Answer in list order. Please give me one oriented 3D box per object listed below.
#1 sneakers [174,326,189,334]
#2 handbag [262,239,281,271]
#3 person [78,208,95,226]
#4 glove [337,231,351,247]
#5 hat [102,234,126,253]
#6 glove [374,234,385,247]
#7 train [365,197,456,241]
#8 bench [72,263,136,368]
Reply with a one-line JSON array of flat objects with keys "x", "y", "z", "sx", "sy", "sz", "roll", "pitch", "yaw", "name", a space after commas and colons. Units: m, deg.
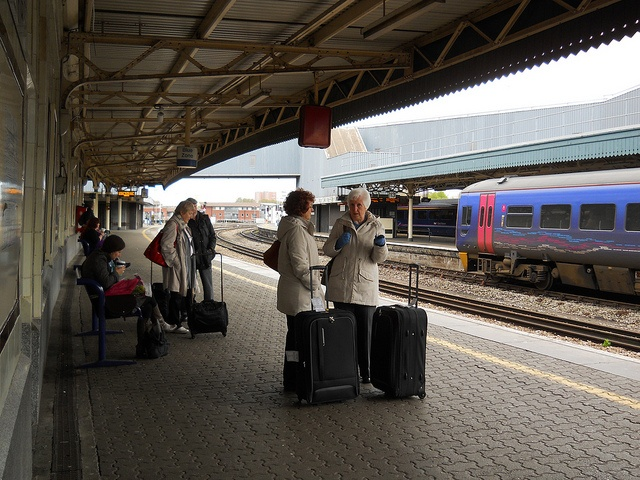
[{"x": -2.512, "y": 1.622, "z": 8.027, "sx": 0.217, "sy": 0.092, "sz": 0.107, "roll": 2, "pitch": -2, "yaw": -18, "name": "sneakers"}, {"x": -0.601, "y": 0.192, "z": 5.777, "sx": 0.102, "sy": 0.348, "sz": 0.342, "roll": 15, "pitch": -6, "yaw": -24, "name": "handbag"}, {"x": -9.662, "y": -0.951, "z": 18.262, "sx": 0.168, "sy": 0.698, "sz": 0.728, "roll": 34, "pitch": -22, "yaw": -35, "name": "person"}, {"x": 0.266, "y": -0.011, "z": 5.259, "sx": 0.072, "sy": 0.119, "sz": 0.185, "roll": 21, "pitch": -38, "yaw": -26, "name": "glove"}, {"x": -3.075, "y": 0.064, "z": 6.639, "sx": 0.342, "sy": 0.233, "sz": 0.257, "roll": -15, "pitch": -7, "yaw": 36, "name": "hat"}, {"x": 0.706, "y": 0.006, "z": 5.326, "sx": 0.122, "sy": 0.144, "sz": 0.198, "roll": 3, "pitch": 3, "yaw": 14, "name": "glove"}, {"x": 6.795, "y": -2.185, "z": 42.830, "sx": 11.983, "sy": 4.631, "sz": 3.474, "roll": 1, "pitch": 4, "yaw": 26, "name": "train"}, {"x": -3.339, "y": 1.123, "z": 6.955, "sx": 0.947, "sy": 1.153, "sz": 1.732, "roll": 2, "pitch": 1, "yaw": -31, "name": "bench"}]
